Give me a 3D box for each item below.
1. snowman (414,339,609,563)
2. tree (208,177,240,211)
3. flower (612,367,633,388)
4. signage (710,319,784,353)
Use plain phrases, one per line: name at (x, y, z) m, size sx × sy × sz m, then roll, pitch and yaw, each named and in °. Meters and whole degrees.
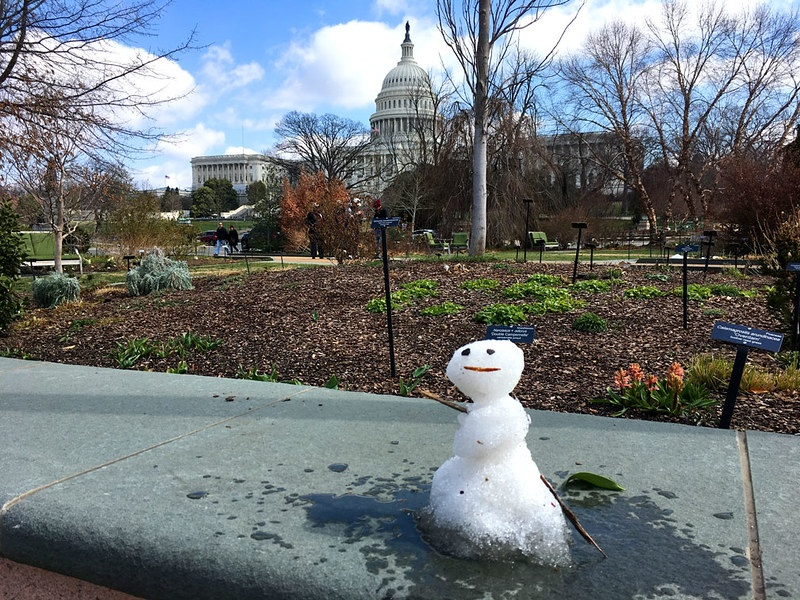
snowman at (0.541, 0.810, 3.854) m, size 0.808 × 1.135 × 0.365 m, roll -2°, pitch 12°, yaw 0°
tree at (-26.024, -15.766, 107.196) m, size 4.788 × 5.361 × 5.084 m, roll -1°, pitch -1°, yaw 2°
flower at (1.825, 0.613, 5.779) m, size 0.164 × 0.203 × 0.165 m, roll 2°, pitch -18°, yaw 10°
signage at (2.348, 0.252, 4.842) m, size 0.419 × 0.167 × 0.175 m, roll 6°, pitch 14°, yaw 32°
